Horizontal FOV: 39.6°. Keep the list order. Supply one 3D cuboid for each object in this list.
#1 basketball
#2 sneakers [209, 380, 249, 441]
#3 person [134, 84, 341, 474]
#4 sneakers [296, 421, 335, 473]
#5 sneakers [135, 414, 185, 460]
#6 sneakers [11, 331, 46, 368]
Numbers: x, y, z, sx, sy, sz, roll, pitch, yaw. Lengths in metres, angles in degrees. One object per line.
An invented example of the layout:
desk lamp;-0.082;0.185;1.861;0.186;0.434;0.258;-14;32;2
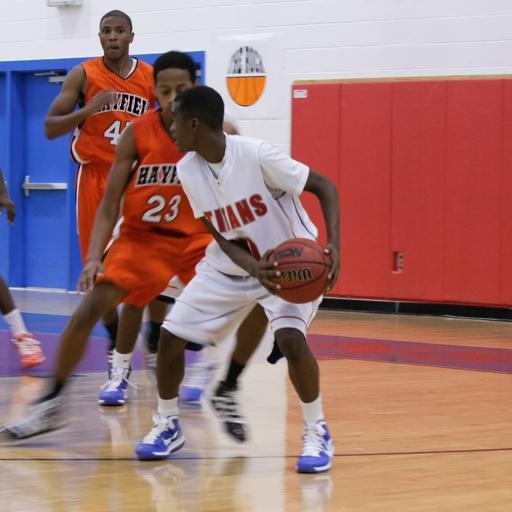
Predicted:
basketball;0.121;0.044;2.000;0.155;0.188;0.134;-1;2;-25
sneakers;-0.103;0.575;2.615;0.051;0.150;0.106;-21;-16;-37
person;-0.014;0.064;2.265;0.626;1.147;0.556;1;2;16
sneakers;0.177;0.561;2.110;0.103;0.141;0.155;1;2;6
sneakers;-0.292;0.565;2.252;0.073;0.113;0.200;-4;1;22
sneakers;-1.183;0.489;3.750;0.097;0.123;0.285;-18;3;-33
